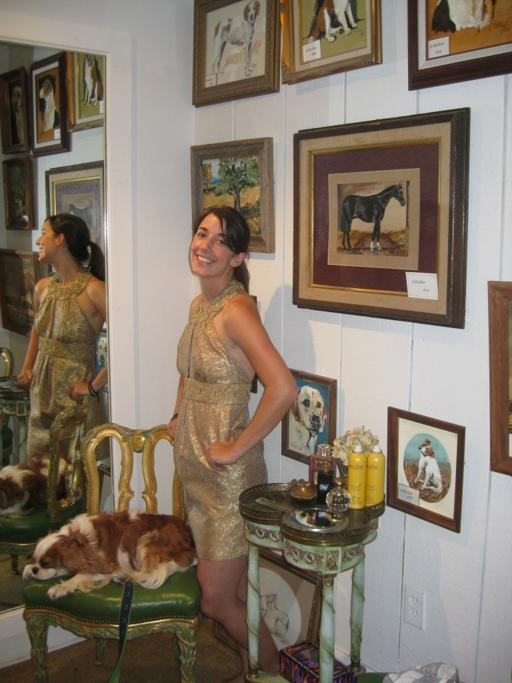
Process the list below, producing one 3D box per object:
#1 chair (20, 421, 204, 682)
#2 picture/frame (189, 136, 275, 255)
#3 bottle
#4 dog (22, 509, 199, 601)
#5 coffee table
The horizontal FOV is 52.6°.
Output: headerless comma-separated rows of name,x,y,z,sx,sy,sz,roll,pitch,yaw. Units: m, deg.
chair,-0.456,0.827,1.726,0.517,0.982,0.581,-1,7,-9
picture/frame,-0.079,-0.555,1.944,0.052,0.503,0.481,-7,13,-36
bottle,0.262,0.391,1.490,0.165,0.175,0.061,4,8,34
dog,-0.428,0.643,1.597,0.347,0.132,0.264,-3,8,-36
coffee table,0.123,0.773,1.463,0.398,0.669,0.335,3,7,21
